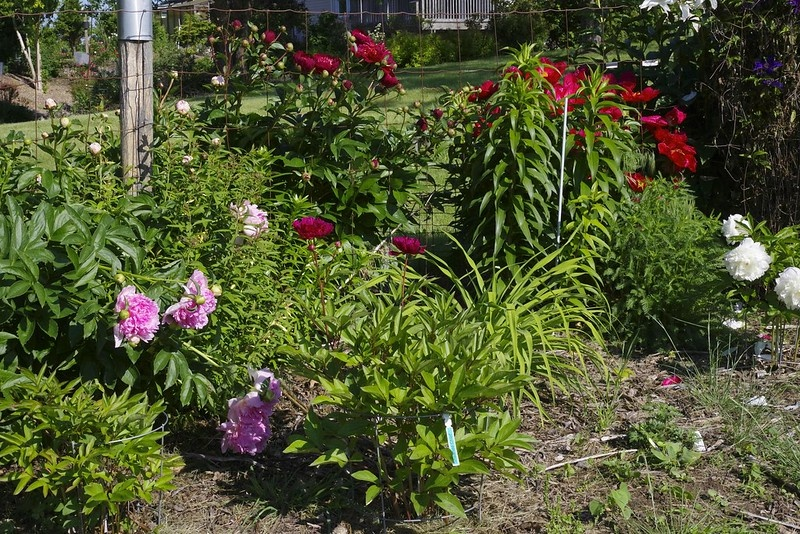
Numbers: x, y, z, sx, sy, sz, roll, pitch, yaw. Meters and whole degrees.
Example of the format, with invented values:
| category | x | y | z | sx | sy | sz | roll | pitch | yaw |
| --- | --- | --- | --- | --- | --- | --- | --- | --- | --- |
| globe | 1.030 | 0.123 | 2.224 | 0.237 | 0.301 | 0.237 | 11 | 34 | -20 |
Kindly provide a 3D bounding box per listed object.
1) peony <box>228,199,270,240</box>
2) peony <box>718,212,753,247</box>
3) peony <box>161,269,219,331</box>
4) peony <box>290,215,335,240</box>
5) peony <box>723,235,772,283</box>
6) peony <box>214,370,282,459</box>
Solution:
| category | x | y | z | sx | sy | sz | roll | pitch | yaw |
| --- | --- | --- | --- | --- | --- | --- | --- | --- | --- |
| peony | -0.783 | -0.265 | 4.162 | 0.223 | 0.182 | 0.211 | -16 | 25 | -39 |
| peony | 2.008 | -0.233 | 4.690 | 0.109 | 0.192 | 0.179 | -8 | -9 | -21 |
| peony | -0.943 | 0.179 | 3.646 | 0.250 | 0.260 | 0.174 | 34 | -10 | 3 |
| peony | -0.437 | -0.188 | 3.951 | 0.172 | 0.156 | 0.192 | -4 | 20 | -14 |
| peony | 1.976 | -0.033 | 4.469 | 0.231 | 0.229 | 0.141 | 46 | 20 | 20 |
| peony | -0.720 | 0.719 | 3.851 | 0.169 | 0.397 | 0.377 | 15 | 32 | 7 |
